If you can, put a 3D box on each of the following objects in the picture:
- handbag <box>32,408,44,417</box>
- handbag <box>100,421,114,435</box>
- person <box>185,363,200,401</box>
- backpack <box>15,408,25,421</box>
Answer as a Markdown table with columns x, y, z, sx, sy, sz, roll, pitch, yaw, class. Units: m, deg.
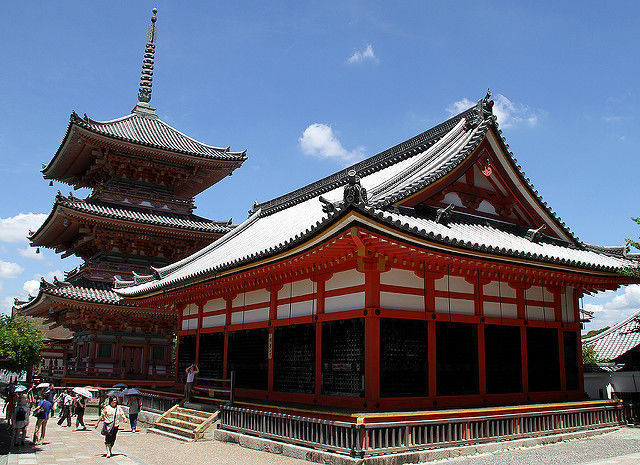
| x | y | z | sx | sy | sz | roll | pitch | yaw | class |
| --- | --- | --- | --- | --- | --- | --- | --- | --- | --- |
| -9.812 | 6.213 | 20.193 | 0.429 | 0.138 | 0.342 | -4 | -1 | 24 | handbag |
| -6.520 | 5.948 | 17.739 | 0.215 | 0.436 | 0.575 | -1 | -4 | -43 | handbag |
| -5.162 | 5.853 | 23.319 | 0.507 | 1.217 | 2.088 | -3 | -3 | -13 | person |
| -9.917 | 5.956 | 19.279 | 0.255 | 0.445 | 0.408 | -3 | -4 | -22 | backpack |
